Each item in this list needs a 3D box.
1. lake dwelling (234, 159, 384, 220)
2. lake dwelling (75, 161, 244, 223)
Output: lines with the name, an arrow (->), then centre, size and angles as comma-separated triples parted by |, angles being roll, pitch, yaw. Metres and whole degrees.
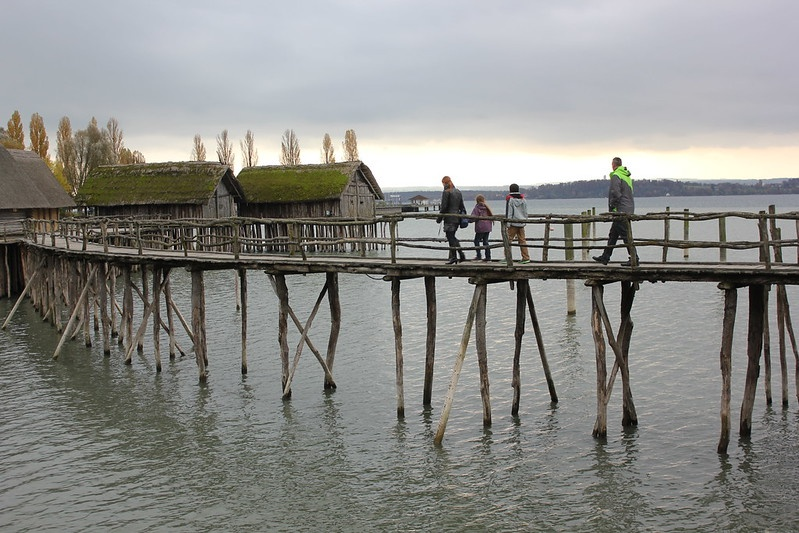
lake dwelling -> -5.551, -4.482, 71.665 | 7.959, 3.352, 6.533 | -2, 6, -4
lake dwelling -> -14.202, -4.511, 70.821 | 11.251, 3.244, 6.684 | 1, 6, 29
